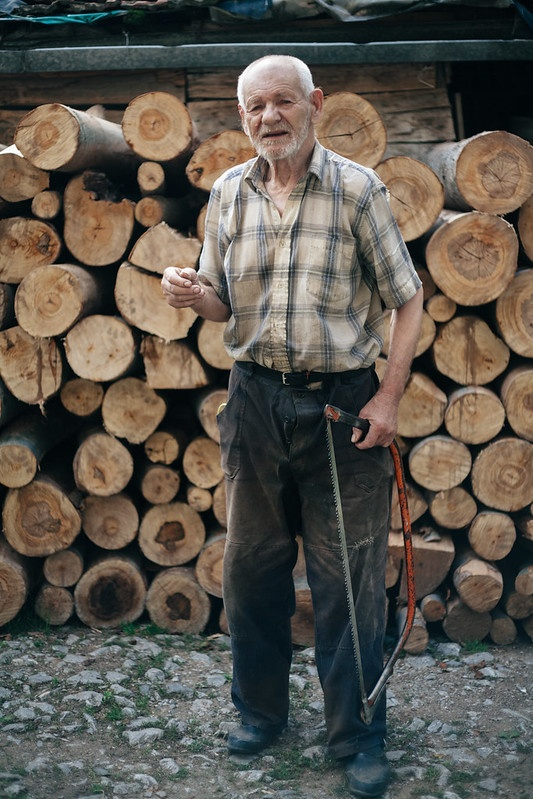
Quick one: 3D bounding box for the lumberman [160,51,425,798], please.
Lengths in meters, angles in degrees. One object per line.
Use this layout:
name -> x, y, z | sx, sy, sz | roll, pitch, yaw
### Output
lumberman -> 0.262, 0.033, 3.461 | 1.503, 2.909, 0.767 | 2, 17, 10

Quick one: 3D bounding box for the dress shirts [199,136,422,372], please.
dress shirts -> 0.130, -0.496, 2.984 | 0.809, 0.790, 0.332 | 3, 12, 8
